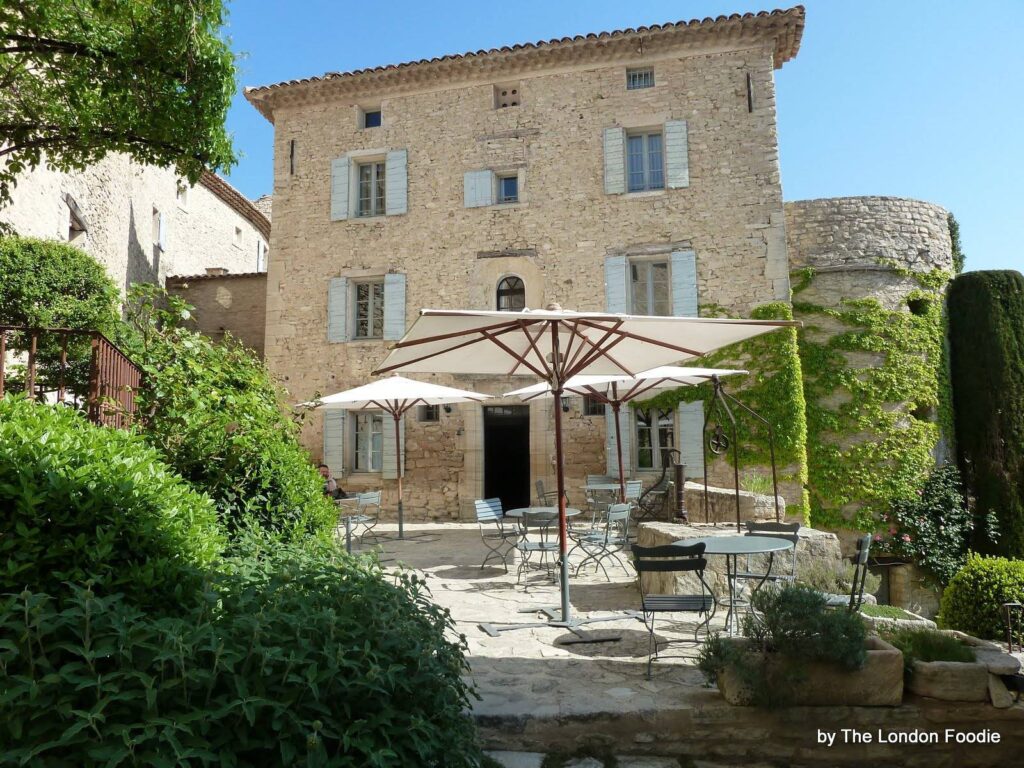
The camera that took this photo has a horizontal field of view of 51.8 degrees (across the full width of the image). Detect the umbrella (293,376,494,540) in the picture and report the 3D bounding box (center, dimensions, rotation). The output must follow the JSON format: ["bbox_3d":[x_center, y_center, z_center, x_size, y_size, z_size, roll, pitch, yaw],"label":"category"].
[{"bbox_3d":[-1.786,1.121,16.651,3.339,2.283,3.246,-2,-3,-39],"label":"umbrella"}]

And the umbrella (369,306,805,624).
[{"bbox_3d":[0.519,0.801,11.523,3.709,3.046,4.081,0,-2,-13],"label":"umbrella"}]

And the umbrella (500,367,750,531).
[{"bbox_3d":[1.579,0.612,15.407,2.417,1.350,2.327,-4,-5,-14],"label":"umbrella"}]
